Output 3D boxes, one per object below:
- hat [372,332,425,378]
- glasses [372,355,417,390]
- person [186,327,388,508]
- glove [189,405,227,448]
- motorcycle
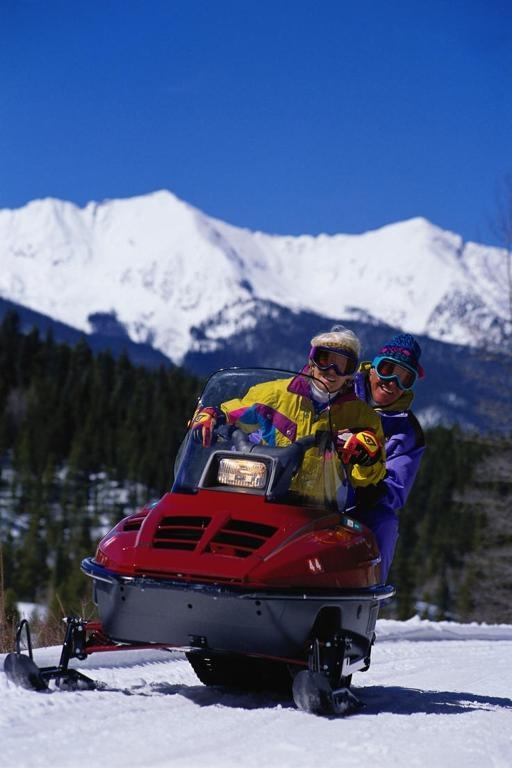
[{"bbox_3d":[0.848,-0.168,6.669,0.211,0.220,0.294,24,-11,8],"label":"hat"},{"bbox_3d":[0.810,-0.079,6.626,0.185,0.108,0.230,29,-5,1],"label":"glasses"},{"bbox_3d":[0.197,0.223,5.319,0.793,1.036,0.608,14,-13,24],"label":"person"},{"bbox_3d":[-0.235,0.174,5.242,0.174,0.167,0.076,-12,-52,46],"label":"glove"},{"bbox_3d":[-0.066,0.818,5.199,1.037,0.986,1.660,1,-15,14],"label":"motorcycle"}]
